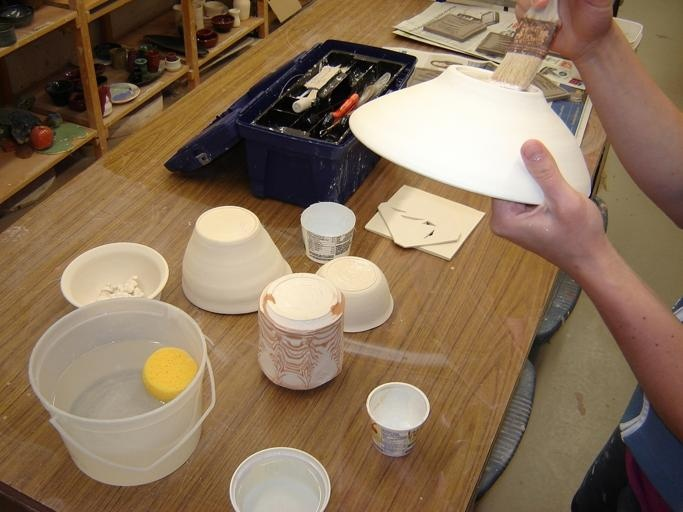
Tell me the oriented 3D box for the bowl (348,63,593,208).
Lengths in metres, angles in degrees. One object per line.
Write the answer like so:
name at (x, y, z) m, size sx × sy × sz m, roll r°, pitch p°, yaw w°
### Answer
bowl at (0.205, -0.209, 0.794) m, size 0.264 × 0.097 × 0.279 m, roll 21°, pitch 24°, yaw -10°

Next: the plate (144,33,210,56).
plate at (-1.054, -1.346, 3.154) m, size 0.367 × 0.056 × 0.171 m, roll 23°, pitch 48°, yaw 13°

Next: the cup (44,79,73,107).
cup at (-1.501, -0.867, 2.693) m, size 0.129 × 0.113 × 0.134 m, roll 10°, pitch 37°, yaw -8°

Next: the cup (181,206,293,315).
cup at (-0.262, -0.009, 1.204) m, size 0.254 × 0.161 × 0.271 m, roll 5°, pitch 35°, yaw -3°

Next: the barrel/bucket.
barrel/bucket at (-0.414, 0.293, 0.974) m, size 0.214 × 0.339 × 0.323 m, roll 47°, pitch 11°, yaw 35°

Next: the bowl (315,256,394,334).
bowl at (0.017, 0.083, 1.188) m, size 0.202 × 0.102 × 0.211 m, roll 3°, pitch 30°, yaw -1°

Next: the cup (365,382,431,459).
cup at (0.106, 0.323, 0.963) m, size 0.136 × 0.084 × 0.142 m, roll 1°, pitch 12°, yaw 0°

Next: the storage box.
storage box at (-0.162, -0.399, 1.484) m, size 0.674 × 0.290 × 0.493 m, roll 27°, pitch 54°, yaw 20°

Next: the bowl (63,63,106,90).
bowl at (-1.359, -0.933, 2.666) m, size 0.183 × 0.054 × 0.191 m, roll -8°, pitch 44°, yaw 8°

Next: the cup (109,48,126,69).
cup at (-1.311, -1.148, 2.965) m, size 0.074 × 0.093 × 0.125 m, roll -3°, pitch 42°, yaw -17°

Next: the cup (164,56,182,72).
cup at (-1.012, -1.134, 3.024) m, size 0.057 × 0.044 × 0.096 m, roll -4°, pitch 38°, yaw -15°

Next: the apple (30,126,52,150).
apple at (-1.459, -0.577, 2.483) m, size 0.101 × 0.111 × 0.102 m, roll -15°, pitch 37°, yaw -42°

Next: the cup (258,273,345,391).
cup at (-0.077, 0.140, 1.058) m, size 0.181 × 0.194 × 0.199 m, roll -2°, pitch 42°, yaw -10°
